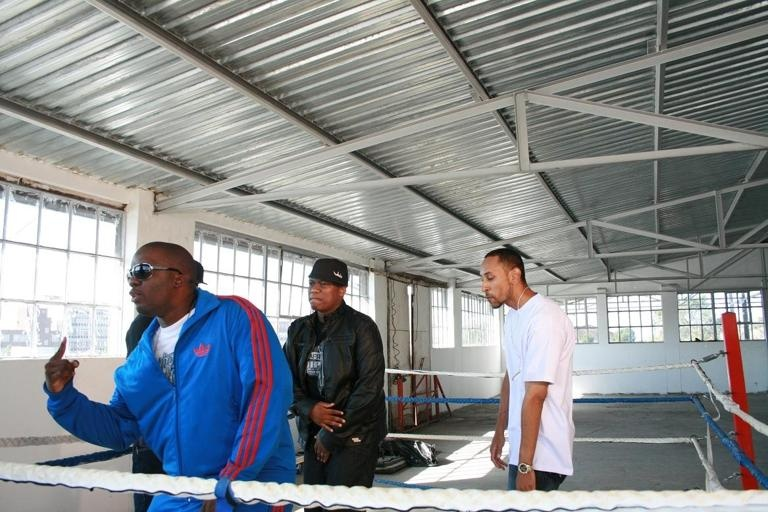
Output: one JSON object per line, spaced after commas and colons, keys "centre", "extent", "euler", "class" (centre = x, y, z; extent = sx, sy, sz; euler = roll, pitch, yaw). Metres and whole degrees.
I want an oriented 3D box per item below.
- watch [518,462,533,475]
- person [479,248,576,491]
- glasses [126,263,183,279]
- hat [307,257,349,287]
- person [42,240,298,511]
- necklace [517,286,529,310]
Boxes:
{"centre": [0.868, 1.290, 3.337], "extent": [0.075, 0.078, 0.043], "euler": [-44, 8, 35], "class": "watch"}
{"centre": [0.958, 0.707, 3.577], "extent": [0.566, 1.578, 0.414], "euler": [-3, -9, 16], "class": "person"}
{"centre": [-1.290, 0.081, 3.026], "extent": [0.130, 0.036, 0.140], "euler": [-13, -18, 43], "class": "glasses"}
{"centre": [-0.412, 0.124, 4.553], "extent": [0.240, 0.142, 0.325], "euler": [0, -12, 45], "class": "hat"}
{"centre": [-1.165, 0.672, 3.123], "extent": [1.201, 1.486, 0.559], "euler": [-3, -9, 16], "class": "person"}
{"centre": [0.931, 0.278, 3.653], "extent": [0.036, 0.118, 0.101], "euler": [25, -15, -18], "class": "necklace"}
